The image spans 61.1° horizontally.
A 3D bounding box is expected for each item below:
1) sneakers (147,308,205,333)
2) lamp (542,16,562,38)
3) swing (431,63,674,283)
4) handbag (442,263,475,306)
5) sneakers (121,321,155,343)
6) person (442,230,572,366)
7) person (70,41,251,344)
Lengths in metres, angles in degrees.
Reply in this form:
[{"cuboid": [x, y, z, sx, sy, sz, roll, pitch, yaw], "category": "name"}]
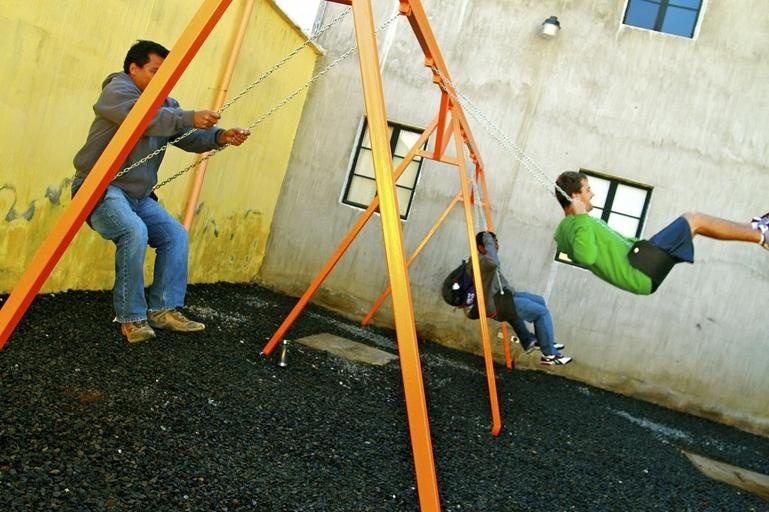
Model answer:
[{"cuboid": [-1.621, 0.513, 5.151, 0.455, 0.213, 0.163, 7, 0, -12], "category": "sneakers"}, {"cuboid": [1.870, -2.563, 7.261, 0.176, 0.208, 0.130, 12, -25, 20], "category": "lamp"}, {"cuboid": [1.876, -0.891, 6.819, 0.332, 0.972, 3.061, -29, -59, 37], "category": "swing"}, {"cuboid": [0.807, 0.295, 6.574, 0.416, 0.401, 0.304, -7, 6, 3], "category": "handbag"}, {"cuboid": [-1.794, 0.569, 4.781, 0.277, 0.128, 0.113, -3, -1, 27], "category": "sneakers"}, {"cuboid": [1.320, 0.460, 6.703, 0.949, 1.181, 0.642, -17, 39, 22], "category": "person"}, {"cuboid": [-1.691, -0.438, 4.720, 1.070, 2.125, 0.843, 10, 9, -27], "category": "person"}]
